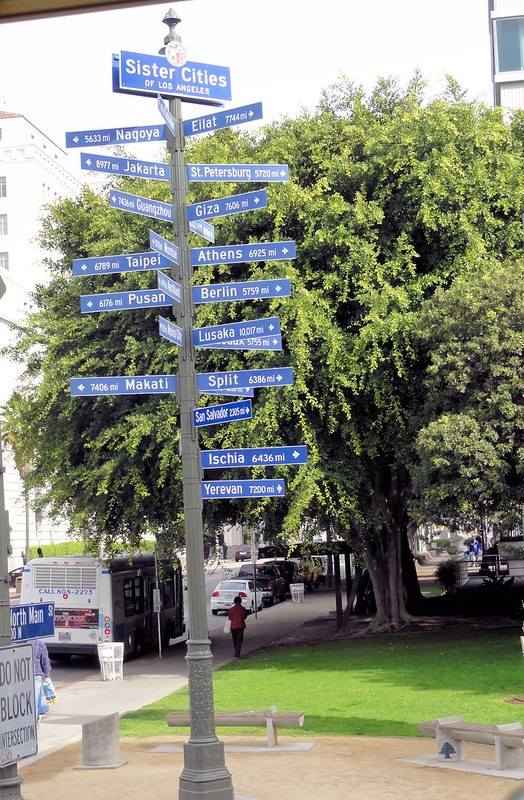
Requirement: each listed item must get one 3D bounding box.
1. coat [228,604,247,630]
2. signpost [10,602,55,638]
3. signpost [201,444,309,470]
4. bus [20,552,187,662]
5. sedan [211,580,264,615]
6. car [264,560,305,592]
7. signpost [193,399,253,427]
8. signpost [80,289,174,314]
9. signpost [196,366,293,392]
[{"bbox_3d":[-0.543,4.933,24.418,0.550,0.763,0.492,-1,-4,8],"label":"coat"},{"bbox_3d":[-1.723,1.690,8.139,0.280,0.297,0.652,-4,-6,-8],"label":"signpost"},{"bbox_3d":[-0.078,0.548,10.303,0.990,0.182,0.375,-5,-6,-1],"label":"signpost"},{"bbox_3d":[-3.701,5.119,26.410,2.087,2.531,6.795,-4,-8,9],"label":"bus"},{"bbox_3d":[-0.869,7.050,38.876,1.293,1.105,2.539,0,1,12],"label":"sedan"},{"bbox_3d":[1.085,7.638,48.105,1.257,1.177,2.738,0,5,5],"label":"car"},{"bbox_3d":[-0.346,0.128,10.240,0.485,0.247,0.603,-6,-6,11],"label":"signpost"},{"bbox_3d":[-1.316,-0.949,10.462,0.848,0.218,0.529,-4,-6,-11],"label":"signpost"},{"bbox_3d":[-0.172,-0.187,10.287,0.906,0.189,0.235,-5,-5,-4],"label":"signpost"}]
